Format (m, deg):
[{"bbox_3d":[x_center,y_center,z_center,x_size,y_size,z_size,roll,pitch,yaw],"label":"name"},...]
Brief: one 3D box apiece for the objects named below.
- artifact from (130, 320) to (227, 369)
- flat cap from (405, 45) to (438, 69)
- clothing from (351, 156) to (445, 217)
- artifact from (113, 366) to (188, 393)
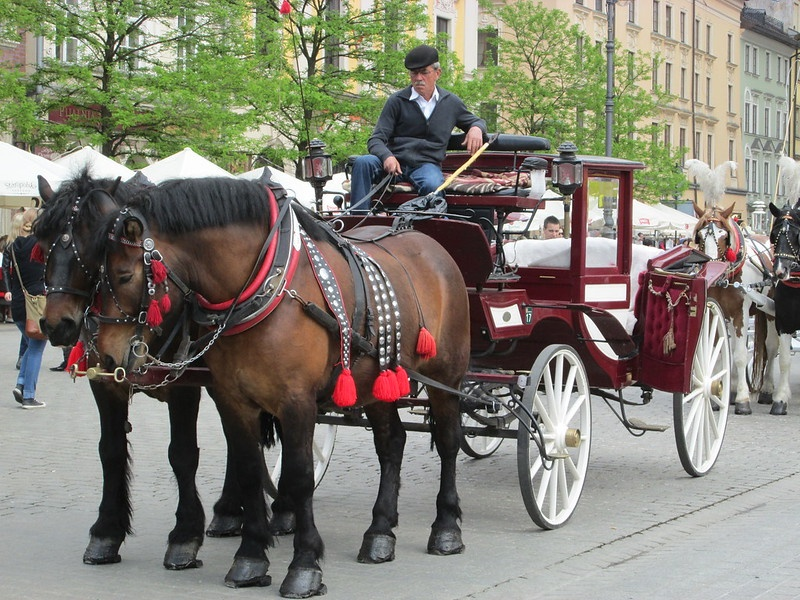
[{"bbox_3d":[-1.425,0.296,8.105,0.580,0.315,0.422,0,3,-10],"label":"artifact"},{"bbox_3d":[0.179,-1.975,10.400,0.248,0.222,0.246,1,3,2],"label":"flat cap"},{"bbox_3d":[0.015,-0.974,10.428,0.683,0.645,0.582,1,-18,6],"label":"clothing"},{"bbox_3d":[-1.609,0.502,8.234,0.250,0.078,0.397,-2,-1,-43],"label":"artifact"}]
